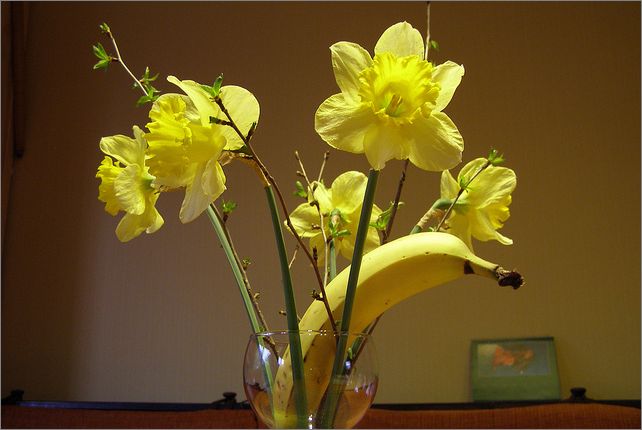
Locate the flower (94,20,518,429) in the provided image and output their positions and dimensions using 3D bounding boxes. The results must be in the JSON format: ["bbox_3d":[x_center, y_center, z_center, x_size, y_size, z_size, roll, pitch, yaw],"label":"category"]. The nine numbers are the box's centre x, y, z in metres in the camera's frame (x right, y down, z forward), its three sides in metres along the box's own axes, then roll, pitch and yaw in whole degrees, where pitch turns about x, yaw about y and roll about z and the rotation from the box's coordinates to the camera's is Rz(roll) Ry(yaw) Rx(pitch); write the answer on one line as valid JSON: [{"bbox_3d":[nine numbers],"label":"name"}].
[{"bbox_3d":[-0.027,0.025,1.792,1.217,1.095,0.685,-4,-27,13],"label":"flower"}]
